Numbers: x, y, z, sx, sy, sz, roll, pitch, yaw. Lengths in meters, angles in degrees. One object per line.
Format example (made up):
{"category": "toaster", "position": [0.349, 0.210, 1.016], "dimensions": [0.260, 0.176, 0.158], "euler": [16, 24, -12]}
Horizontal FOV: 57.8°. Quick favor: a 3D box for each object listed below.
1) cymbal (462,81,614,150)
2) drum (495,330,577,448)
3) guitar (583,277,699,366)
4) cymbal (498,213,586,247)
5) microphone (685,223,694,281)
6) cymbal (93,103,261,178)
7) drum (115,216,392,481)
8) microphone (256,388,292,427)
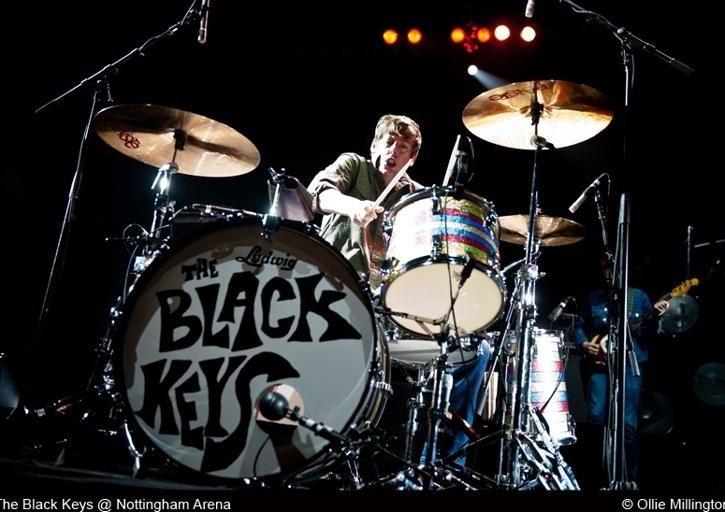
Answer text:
{"category": "cymbal", "position": [1.356, -1.097, 4.817], "dimensions": [0.866, 0.842, 0.116], "euler": [6, 107, -11]}
{"category": "drum", "position": [1.306, 1.011, 5.080], "dimensions": [0.607, 0.595, 0.779], "euler": [15, 66, -43]}
{"category": "guitar", "position": [2.322, 0.557, 5.350], "dimensions": [0.131, 1.107, 0.379], "euler": [19, 34, -58]}
{"category": "cymbal", "position": [1.477, -0.208, 5.352], "dimensions": [0.449, 0.451, 0.112], "euler": [48, 47, -53]}
{"category": "microphone", "position": [2.933, -0.052, 5.869], "dimensions": [0.018, 0.067, 0.466], "euler": [-19, 110, -58]}
{"category": "cymbal", "position": [-1.338, -0.807, 4.747], "dimensions": [0.953, 0.949, 0.211], "euler": [8, 92, -32]}
{"category": "drum", "position": [-0.588, 0.552, 3.563], "dimensions": [1.580, 0.645, 1.475], "euler": [0, 80, 1]}
{"category": "microphone", "position": [-0.461, 0.773, 3.429], "dimensions": [0.171, 0.189, 0.181], "euler": [11, 63, -13]}
